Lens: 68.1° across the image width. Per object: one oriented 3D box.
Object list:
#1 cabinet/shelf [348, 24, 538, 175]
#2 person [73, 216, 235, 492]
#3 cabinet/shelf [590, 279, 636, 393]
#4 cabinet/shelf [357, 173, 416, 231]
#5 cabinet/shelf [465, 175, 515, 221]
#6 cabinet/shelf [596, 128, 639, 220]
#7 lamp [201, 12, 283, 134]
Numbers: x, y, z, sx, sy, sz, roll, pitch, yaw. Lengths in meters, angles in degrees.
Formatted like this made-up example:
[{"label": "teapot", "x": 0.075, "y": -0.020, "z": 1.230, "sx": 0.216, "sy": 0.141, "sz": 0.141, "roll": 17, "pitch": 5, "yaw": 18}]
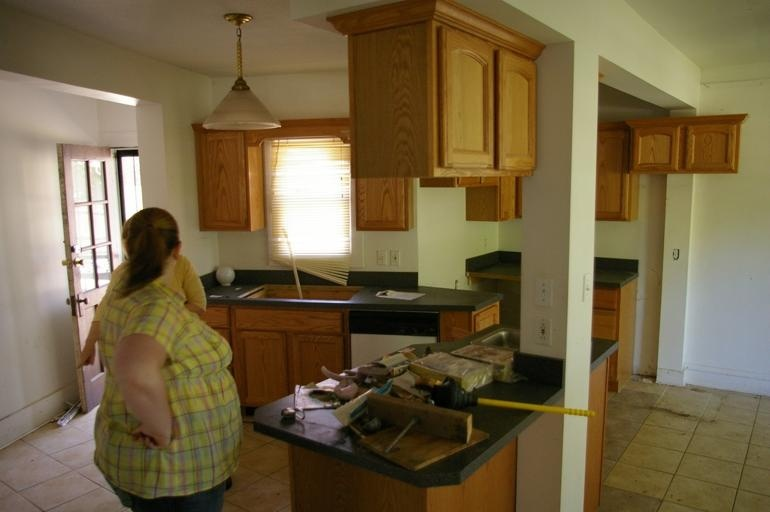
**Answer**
[{"label": "cabinet/shelf", "x": 0.454, "y": -0.954, "z": 3.704, "sx": 0.656, "sy": 0.840, "sz": 1.530, "roll": 5, "pitch": 9, "yaw": 31}, {"label": "person", "x": -1.252, "y": 0.612, "z": 3.232, "sx": 0.799, "sy": 1.752, "sz": 0.413, "roll": -6, "pitch": 8, "yaw": -24}, {"label": "cabinet/shelf", "x": 2.588, "y": 0.843, "z": 6.302, "sx": 0.235, "sy": 1.243, "sz": 0.789, "roll": 4, "pitch": 10, "yaw": 43}, {"label": "cabinet/shelf", "x": 0.063, "y": -0.535, "z": 5.736, "sx": 0.604, "sy": 0.537, "sz": 0.339, "roll": 4, "pitch": 6, "yaw": 31}, {"label": "cabinet/shelf", "x": 1.202, "y": -0.589, "z": 6.341, "sx": 0.482, "sy": 0.597, "sz": 0.697, "roll": 2, "pitch": 5, "yaw": 25}, {"label": "cabinet/shelf", "x": 2.458, "y": -0.900, "z": 6.096, "sx": 0.345, "sy": 1.030, "sz": 0.116, "roll": 0, "pitch": 8, "yaw": 22}, {"label": "lamp", "x": -0.935, "y": -1.423, "z": 4.705, "sx": 0.803, "sy": 0.790, "sz": 0.777, "roll": -1, "pitch": 3, "yaw": 5}]
